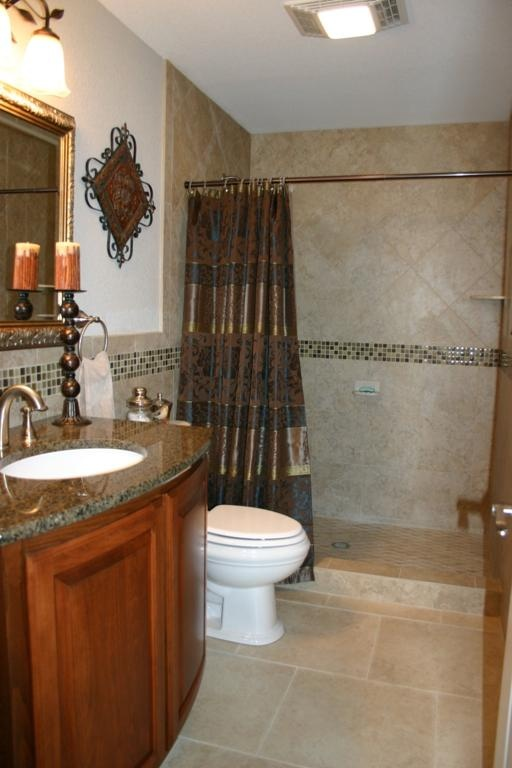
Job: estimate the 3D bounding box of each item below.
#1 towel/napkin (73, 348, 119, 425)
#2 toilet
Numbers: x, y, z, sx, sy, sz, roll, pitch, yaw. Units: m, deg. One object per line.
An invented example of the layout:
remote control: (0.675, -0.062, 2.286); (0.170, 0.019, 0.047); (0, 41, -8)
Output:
towel/napkin: (-0.527, 0.007, 1.844); (0.050, 0.378, 0.204); (4, 6, 24)
toilet: (-0.118, 0.574, 2.233); (0.609, 0.814, 0.344); (3, 10, 18)
